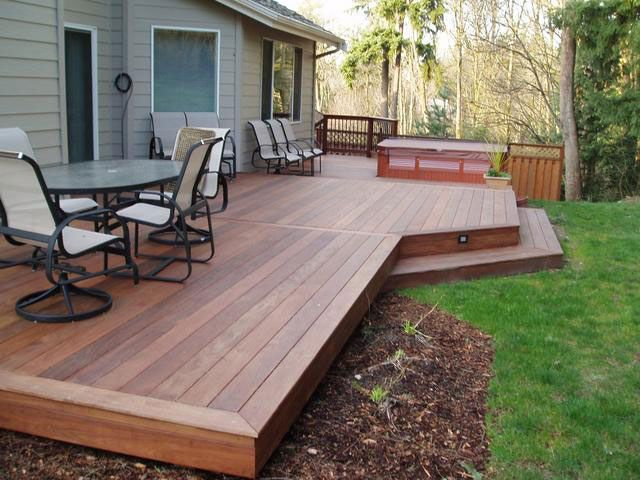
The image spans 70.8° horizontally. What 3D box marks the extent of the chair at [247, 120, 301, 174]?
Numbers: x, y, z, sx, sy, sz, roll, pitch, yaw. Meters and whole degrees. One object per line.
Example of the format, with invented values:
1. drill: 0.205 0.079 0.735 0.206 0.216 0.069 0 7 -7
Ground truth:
1. chair: -0.896 -1.837 9.108 1.038 1.358 0.974 7 21 16
